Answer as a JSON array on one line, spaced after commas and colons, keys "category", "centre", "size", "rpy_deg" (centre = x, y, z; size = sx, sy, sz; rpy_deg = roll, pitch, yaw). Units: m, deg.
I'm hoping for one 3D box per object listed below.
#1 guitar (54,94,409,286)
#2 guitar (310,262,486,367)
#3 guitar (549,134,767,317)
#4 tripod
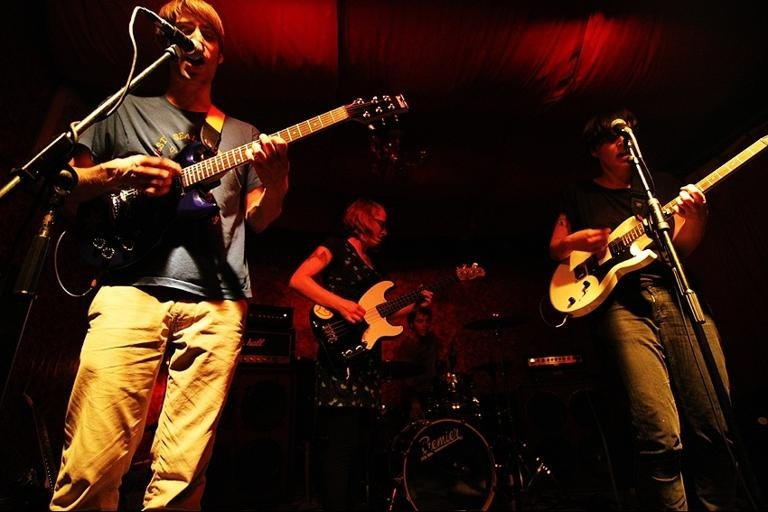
[{"category": "guitar", "centre": [-0.829, -0.419, 3.611], "size": [1.945, 0.759, 0.220], "rpy_deg": [-21, -7, -9]}, {"category": "guitar", "centre": [0.062, 0.421, 5.049], "size": [1.492, 0.533, 0.177], "rpy_deg": [-27, 0, -35]}, {"category": "guitar", "centre": [2.227, -0.200, 4.600], "size": [0.176, 0.560, 1.932], "rpy_deg": [24, -50, -34]}, {"category": "tripod", "centre": [1.116, 1.447, 5.265], "size": [0.610, 1.444, 0.209], "rpy_deg": [-9, -5, -4]}]
